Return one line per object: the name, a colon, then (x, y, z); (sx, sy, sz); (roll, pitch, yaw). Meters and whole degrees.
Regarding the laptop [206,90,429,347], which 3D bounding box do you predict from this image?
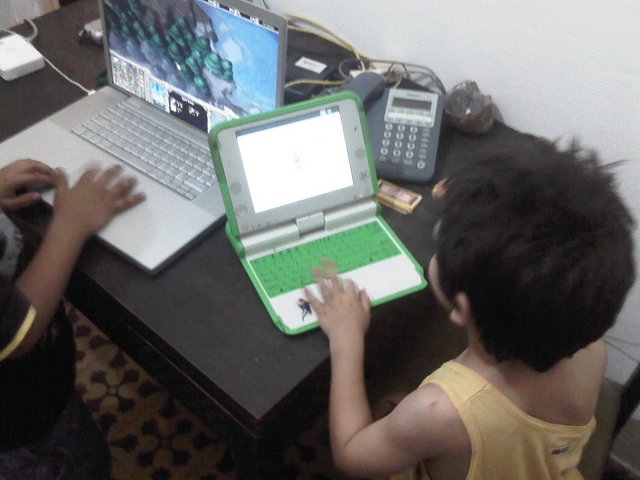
laptop: (0.004, -0.078, 1.086); (0.366, 0.269, 0.391); (-17, 50, -18)
